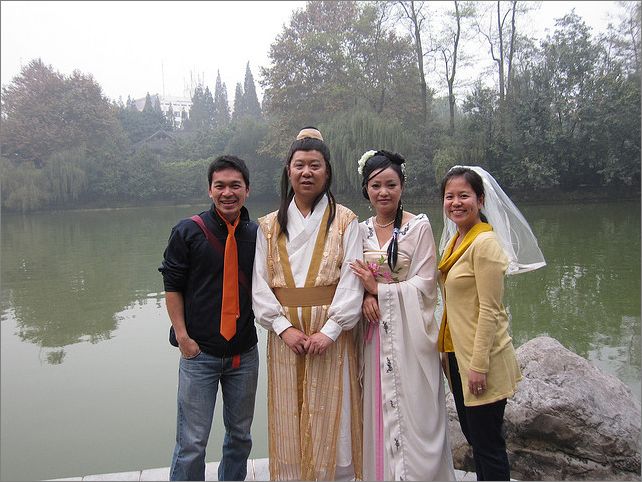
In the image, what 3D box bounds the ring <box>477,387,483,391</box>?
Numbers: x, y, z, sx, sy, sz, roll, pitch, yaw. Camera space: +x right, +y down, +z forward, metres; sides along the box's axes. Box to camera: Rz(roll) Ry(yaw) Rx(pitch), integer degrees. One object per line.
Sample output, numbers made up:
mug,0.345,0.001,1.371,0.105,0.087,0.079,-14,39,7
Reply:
ring,1.053,0.977,3.391,0.039,0.033,0.004,-4,12,-7
